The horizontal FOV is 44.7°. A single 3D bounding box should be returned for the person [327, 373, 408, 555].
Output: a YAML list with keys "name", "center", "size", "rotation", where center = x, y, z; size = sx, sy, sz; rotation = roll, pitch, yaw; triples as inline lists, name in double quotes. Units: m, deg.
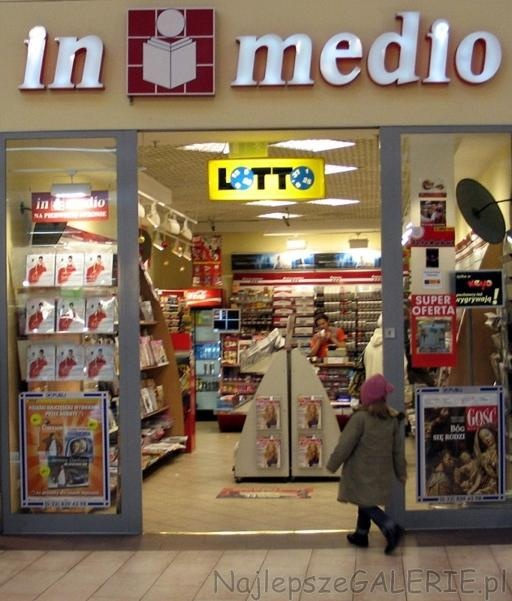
- name: "person"
  center: [0.733, 1.019, 4.061]
  size: [0.455, 1.094, 0.515]
  rotation: [-3, 0, 23]

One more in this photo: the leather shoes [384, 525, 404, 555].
- name: "leather shoes"
  center: [0.839, 1.476, 3.836]
  size: [0.053, 0.164, 0.113]
  rotation: [10, 25, 11]

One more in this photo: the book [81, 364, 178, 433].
- name: "book"
  center: [-1.049, 0.802, 5.156]
  size: [0.296, 0.650, 1.030]
  rotation: [-2, -1, 19]

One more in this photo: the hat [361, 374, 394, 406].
- name: "hat"
  center: [0.773, 0.573, 3.997]
  size: [0.203, 0.193, 0.162]
  rotation: [0, 1, 23]

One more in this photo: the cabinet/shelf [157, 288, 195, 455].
- name: "cabinet/shelf"
  center: [-1.126, 0.738, 8.097]
  size: [0.537, 1.749, 0.950]
  rotation: [-3, 1, -15]

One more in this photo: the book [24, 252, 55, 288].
- name: "book"
  center: [-1.560, -0.208, 4.465]
  size: [0.234, 0.286, 0.039]
  rotation: [0, -7, -1]
